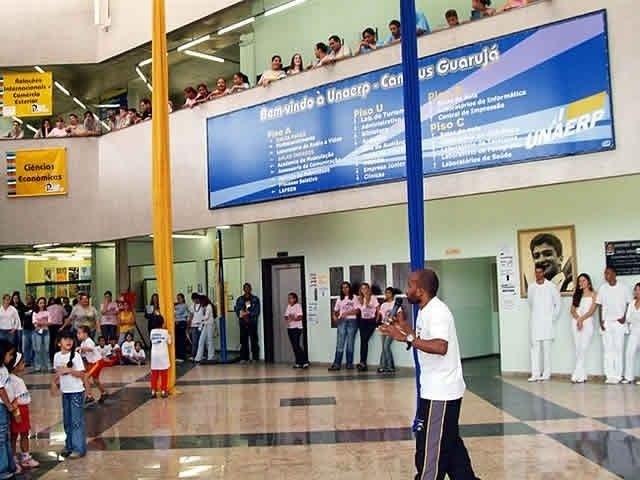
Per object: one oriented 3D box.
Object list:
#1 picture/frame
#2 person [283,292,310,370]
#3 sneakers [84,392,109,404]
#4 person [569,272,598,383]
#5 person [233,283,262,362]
[{"bbox_3d":[4.266,0.369,10.681,1.272,1.699,0.107,-1,0,34],"label":"picture/frame"},{"bbox_3d":[-0.463,2.030,13.124,0.500,1.273,0.745,-2,-1,-26],"label":"person"},{"bbox_3d":[-3.967,2.817,10.312,0.128,0.170,0.415,1,-14,3],"label":"sneakers"},{"bbox_3d":[4.662,1.536,10.255,0.524,1.957,0.425,-2,-1,7],"label":"person"},{"bbox_3d":[-1.759,2.003,14.071,0.537,1.332,0.663,-1,-1,-36],"label":"person"}]
